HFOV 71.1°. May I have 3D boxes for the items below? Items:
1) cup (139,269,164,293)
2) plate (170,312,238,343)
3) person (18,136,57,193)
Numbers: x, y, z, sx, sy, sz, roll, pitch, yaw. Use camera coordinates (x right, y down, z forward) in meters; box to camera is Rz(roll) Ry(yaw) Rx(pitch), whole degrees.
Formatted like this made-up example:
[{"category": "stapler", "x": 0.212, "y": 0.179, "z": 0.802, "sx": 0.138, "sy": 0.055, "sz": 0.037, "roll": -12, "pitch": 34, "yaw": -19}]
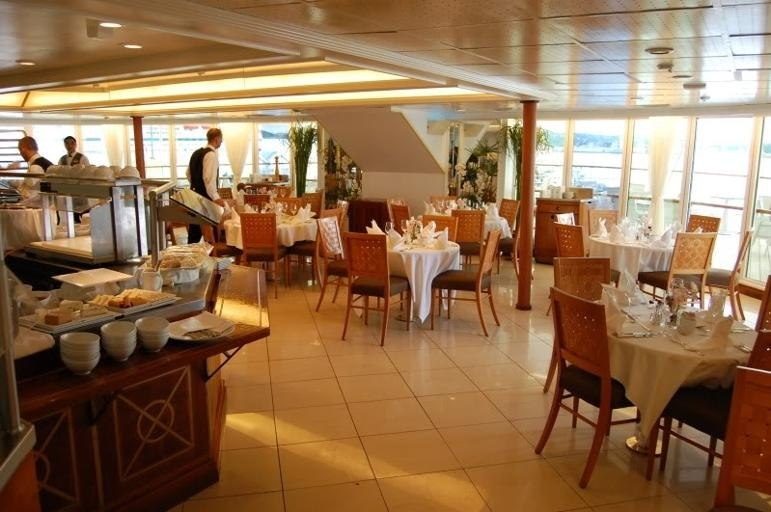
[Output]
[{"category": "cup", "x": -1.684, "y": 0.179, "z": 3.874, "sx": 0.176, "sy": 0.175, "sz": 0.107, "roll": 6, "pitch": 8, "yaw": 24}, {"category": "plate", "x": -1.230, "y": 0.479, "z": 3.582, "sx": 0.403, "sy": 0.109, "sz": 0.305, "roll": -11, "pitch": 15, "yaw": -39}, {"category": "person", "x": -4.412, "y": -1.198, "z": 6.805, "sx": 0.341, "sy": 0.634, "sz": 4.247, "roll": -9, "pitch": 14, "yaw": -32}]
